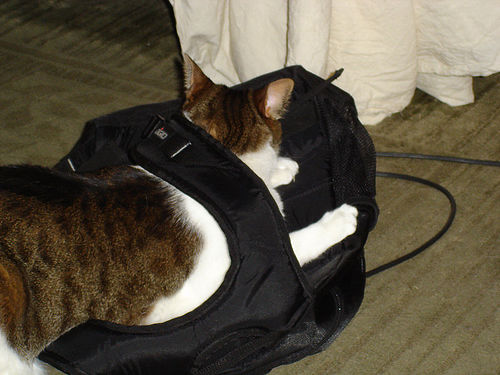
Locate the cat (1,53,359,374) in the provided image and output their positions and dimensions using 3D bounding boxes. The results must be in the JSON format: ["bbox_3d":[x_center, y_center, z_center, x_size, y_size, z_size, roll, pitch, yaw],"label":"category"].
[{"bbox_3d":[-0.315,0.258,2.326,1.233,0.777,0.721,-31,62,-22],"label":"cat"}]
